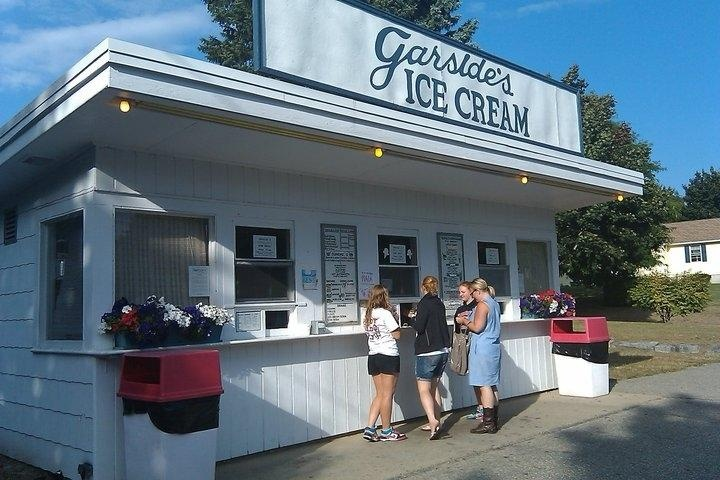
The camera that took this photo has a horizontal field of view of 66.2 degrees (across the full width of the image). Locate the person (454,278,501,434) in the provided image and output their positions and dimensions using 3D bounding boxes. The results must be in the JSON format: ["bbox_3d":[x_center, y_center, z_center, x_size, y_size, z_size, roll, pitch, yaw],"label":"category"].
[{"bbox_3d":[1.696,1.601,7.752,0.561,2.098,0.426,-2,-3,12],"label":"person"}]

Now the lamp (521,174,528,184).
[{"bbox_3d":[2.550,-0.937,8.564,0.095,0.112,0.107,4,33,4],"label":"lamp"}]

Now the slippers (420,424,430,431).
[{"bbox_3d":[0.933,2.682,7.912,0.080,0.052,0.142,0,-8,12],"label":"slippers"}]

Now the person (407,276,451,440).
[{"bbox_3d":[0.985,1.594,7.584,0.463,2.143,0.337,1,-4,-37],"label":"person"}]

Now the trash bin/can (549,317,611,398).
[{"bbox_3d":[3.886,2.035,9.780,0.946,1.362,0.656,-3,-3,24],"label":"trash bin/can"}]

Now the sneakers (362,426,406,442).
[{"bbox_3d":[0.308,2.616,7.483,0.602,0.258,0.220,1,-6,-11],"label":"sneakers"}]

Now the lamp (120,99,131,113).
[{"bbox_3d":[-2.404,-1.357,5.657,0.105,0.087,0.177,0,-4,-30],"label":"lamp"}]

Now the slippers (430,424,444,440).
[{"bbox_3d":[1.048,2.575,7.587,0.177,0.193,0.453,-3,-3,13],"label":"slippers"}]

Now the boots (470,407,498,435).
[{"bbox_3d":[1.747,2.497,7.640,0.489,0.462,0.223,2,-5,0],"label":"boots"}]

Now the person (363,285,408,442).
[{"bbox_3d":[0.303,1.647,7.455,0.513,2.078,0.253,-3,-3,23],"label":"person"}]

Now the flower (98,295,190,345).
[{"bbox_3d":[-2.422,0.928,6.460,0.594,0.399,0.700,11,5,9],"label":"flower"}]
